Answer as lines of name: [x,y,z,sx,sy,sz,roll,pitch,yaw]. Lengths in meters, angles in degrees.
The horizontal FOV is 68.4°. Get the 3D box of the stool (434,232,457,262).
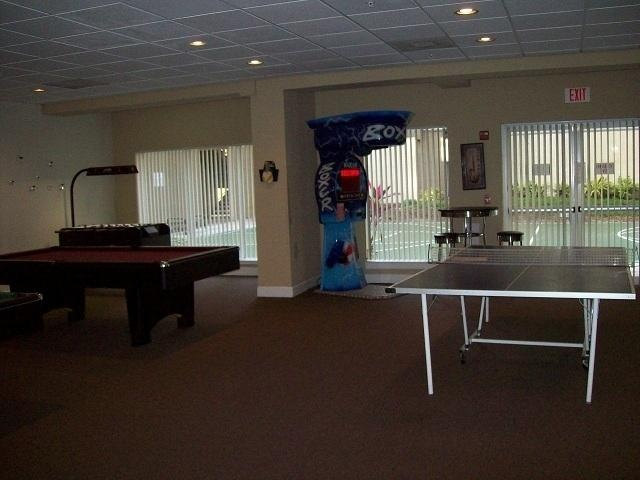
stool: [1.885,0.093,7.149,0.438,0.513,0.454,0,-1,6]

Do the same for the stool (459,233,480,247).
stool: [2.332,-0.026,7.430,0.283,0.340,0.293,1,3,44]

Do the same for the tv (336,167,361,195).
tv: [0.431,-0.921,7.330,0.395,0.480,0.064,1,2,-12]

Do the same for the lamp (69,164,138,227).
lamp: [-4.463,-0.917,9.509,1.141,1.226,2.051,-6,7,-28]

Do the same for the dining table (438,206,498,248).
dining table: [2.397,-0.299,7.419,0.799,0.835,0.776,-2,1,-44]

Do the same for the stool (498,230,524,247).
stool: [3.008,-0.047,7.399,0.344,0.407,0.363,1,5,20]
